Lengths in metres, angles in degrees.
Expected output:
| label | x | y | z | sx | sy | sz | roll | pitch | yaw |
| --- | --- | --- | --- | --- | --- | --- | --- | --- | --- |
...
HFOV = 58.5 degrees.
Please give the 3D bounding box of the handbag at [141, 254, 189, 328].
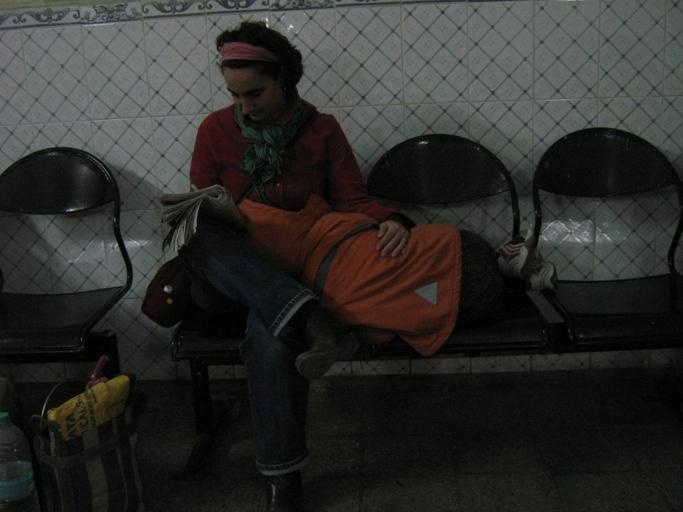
| label | x | y | z | sx | sy | sz | roll | pitch | yaw |
| --- | --- | --- | --- | --- | --- | --- | --- | --- | --- |
| handbag | -0.453 | 0.094 | 1.593 | 0.140 | 0.181 | 0.040 | -2 | 5 | 18 |
